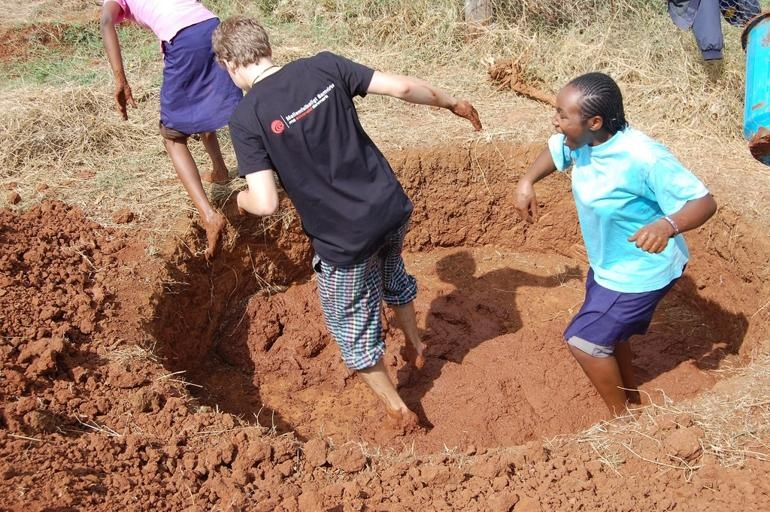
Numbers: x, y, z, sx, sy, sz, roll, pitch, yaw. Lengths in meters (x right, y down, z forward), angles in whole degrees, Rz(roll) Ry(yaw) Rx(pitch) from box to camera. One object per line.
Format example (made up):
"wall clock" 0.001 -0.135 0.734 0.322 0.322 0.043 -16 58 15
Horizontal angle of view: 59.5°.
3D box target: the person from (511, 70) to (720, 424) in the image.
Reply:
"person" 1.657 0.026 4.897 1.090 2.455 0.707 17 38 24

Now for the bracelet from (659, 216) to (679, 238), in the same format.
"bracelet" 1.864 -0.202 4.409 0.088 0.100 0.114 -23 40 -29
